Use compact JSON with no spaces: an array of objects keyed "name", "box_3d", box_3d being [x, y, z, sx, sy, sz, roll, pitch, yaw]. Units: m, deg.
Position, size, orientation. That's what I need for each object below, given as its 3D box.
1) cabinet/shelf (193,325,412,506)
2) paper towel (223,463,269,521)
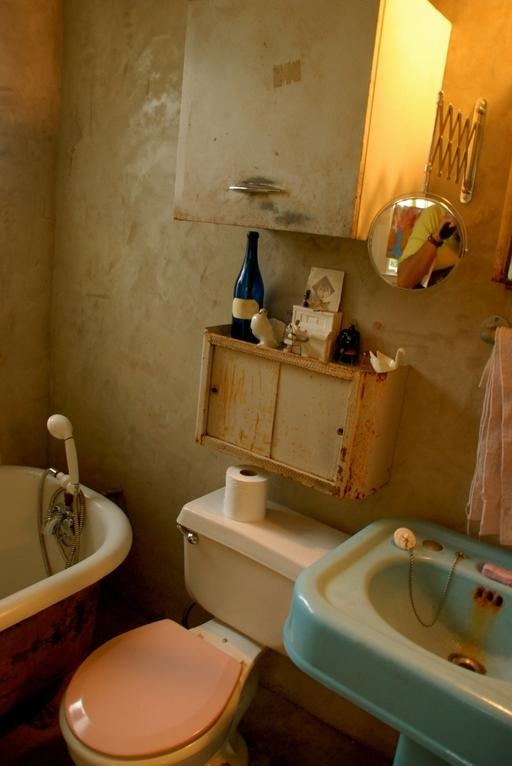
[{"name":"cabinet/shelf","box_3d":[0.067,0.043,1.402,0.416,0.332,0.175,16,28,18]},{"name":"paper towel","box_3d":[-0.024,0.281,1.504,0.103,0.117,0.120,5,10,5]}]
